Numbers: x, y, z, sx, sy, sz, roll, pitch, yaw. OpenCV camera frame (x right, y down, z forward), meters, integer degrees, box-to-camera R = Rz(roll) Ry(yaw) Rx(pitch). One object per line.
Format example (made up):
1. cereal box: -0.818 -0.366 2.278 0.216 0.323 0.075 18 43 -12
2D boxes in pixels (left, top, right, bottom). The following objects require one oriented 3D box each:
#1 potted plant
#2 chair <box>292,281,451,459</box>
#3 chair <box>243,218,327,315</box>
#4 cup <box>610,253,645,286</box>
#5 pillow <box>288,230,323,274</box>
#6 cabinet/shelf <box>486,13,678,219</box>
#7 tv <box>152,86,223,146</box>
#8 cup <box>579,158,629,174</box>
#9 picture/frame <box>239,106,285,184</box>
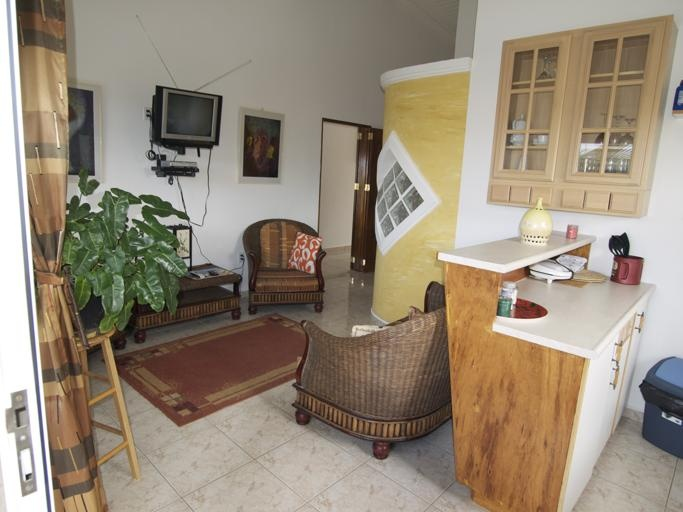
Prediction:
1. potted plant: -1.206 0.004 2.575 0.385 0.837 0.812 -13 -7 37
2. chair: 0.382 0.716 3.468 0.923 1.049 1.189 15 19 37
3. chair: -0.691 0.126 5.595 0.988 1.120 1.050 -2 5 -35
4. cup: 2.028 0.090 3.430 0.200 0.243 0.212 1 7 0
5. pillow: -0.420 -0.027 5.562 0.411 0.424 0.125 11 -4 45
6. cabinet/shelf: 1.790 -1.006 3.463 1.355 1.777 0.400 9 10 34
7. tv: -1.543 -1.354 4.734 0.272 0.446 0.537 28 25 36
8. cup: 1.858 -0.626 3.402 0.312 0.097 0.065 6 12 23
9. picture/frame: -0.979 -1.336 5.756 0.060 0.953 0.833 16 20 39
